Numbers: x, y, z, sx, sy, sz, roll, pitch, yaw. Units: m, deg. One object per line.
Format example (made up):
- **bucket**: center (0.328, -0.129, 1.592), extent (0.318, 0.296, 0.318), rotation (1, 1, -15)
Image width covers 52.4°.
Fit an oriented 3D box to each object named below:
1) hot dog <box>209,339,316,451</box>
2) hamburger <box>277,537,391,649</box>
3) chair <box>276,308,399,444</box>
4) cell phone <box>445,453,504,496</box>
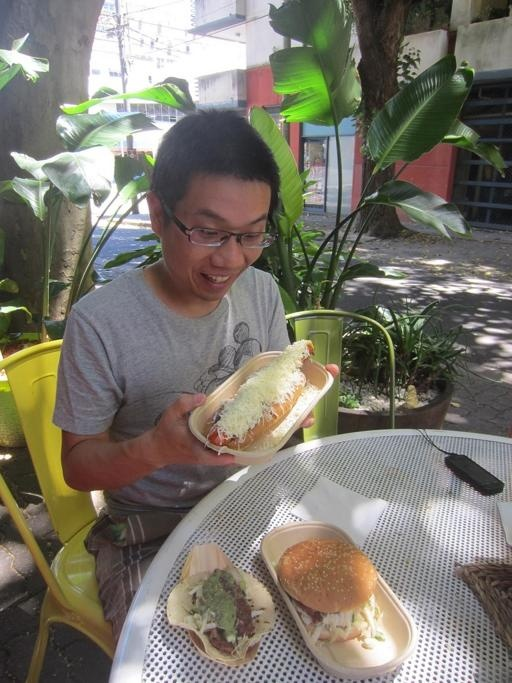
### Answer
- **hot dog**: center (0.004, 0.160, 1.524), extent (0.139, 0.119, 0.425), rotation (25, 42, 28)
- **hamburger**: center (0.148, 0.488, 1.051), extent (0.187, 0.076, 0.237), rotation (-5, 17, -27)
- **chair**: center (0.372, 0.035, 2.311), extent (0.400, 0.654, 0.427), rotation (15, 23, 37)
- **cell phone**: center (0.590, 0.359, 1.446), extent (0.145, 0.068, 0.144), rotation (-3, 11, -23)
